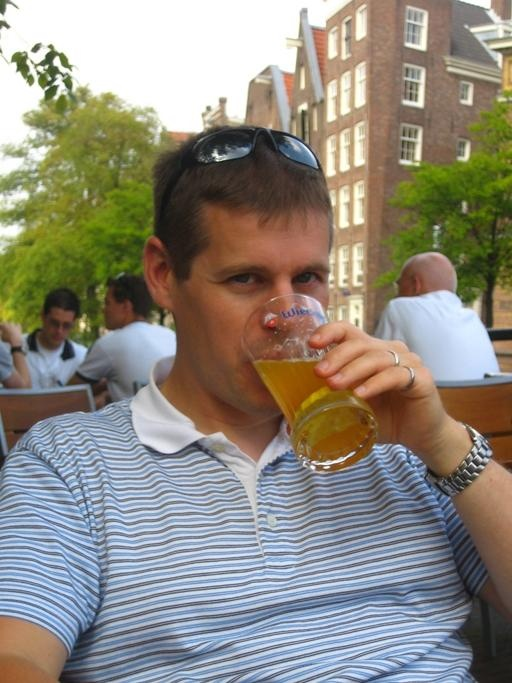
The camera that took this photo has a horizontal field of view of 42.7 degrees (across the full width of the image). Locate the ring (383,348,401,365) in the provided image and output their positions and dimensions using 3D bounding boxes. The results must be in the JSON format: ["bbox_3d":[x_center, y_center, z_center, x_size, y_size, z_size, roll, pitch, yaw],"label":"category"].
[{"bbox_3d":[0.199,0.024,0.950,0.017,0.024,0.047,2,11,22],"label":"ring"}]

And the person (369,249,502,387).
[{"bbox_3d":[0.860,-0.084,3.358,0.627,0.830,0.590,1,3,6],"label":"person"}]

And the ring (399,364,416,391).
[{"bbox_3d":[0.225,0.054,0.955,0.025,0.031,0.012,-24,15,-34],"label":"ring"}]

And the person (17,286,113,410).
[{"bbox_3d":[-1.381,0.009,4.699,0.604,0.947,0.467,-3,5,-32],"label":"person"}]

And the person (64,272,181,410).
[{"bbox_3d":[-0.748,-0.017,3.720,0.562,1.004,0.601,11,13,40],"label":"person"}]
